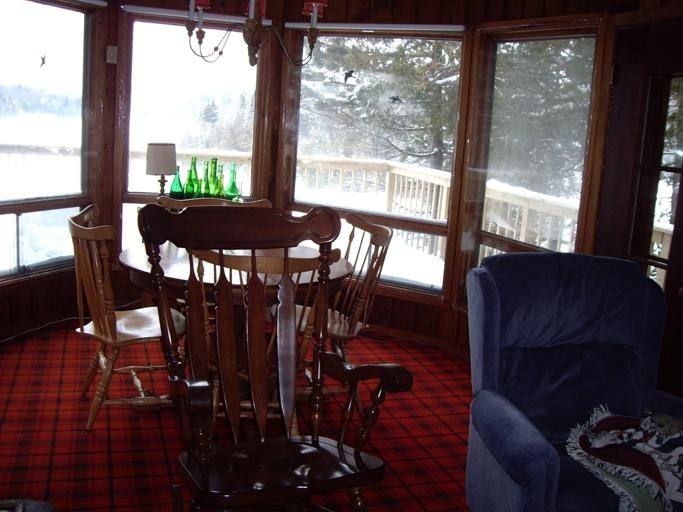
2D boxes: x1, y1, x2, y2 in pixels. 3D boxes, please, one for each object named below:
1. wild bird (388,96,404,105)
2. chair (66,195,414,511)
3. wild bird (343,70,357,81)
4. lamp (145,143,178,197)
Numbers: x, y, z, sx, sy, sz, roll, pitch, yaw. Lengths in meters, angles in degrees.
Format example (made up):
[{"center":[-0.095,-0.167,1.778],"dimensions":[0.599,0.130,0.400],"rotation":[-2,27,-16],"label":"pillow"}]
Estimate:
[{"center":[0.425,-1.200,4.183],"dimensions":[0.079,0.033,0.064],"rotation":[22,43,0],"label":"wild bird"},{"center":[-0.589,0.216,2.440],"dimensions":[0.868,1.200,1.778],"rotation":[-1,7,-28],"label":"chair"},{"center":[0.075,-1.428,4.311],"dimensions":[0.038,0.094,0.067],"rotation":[38,12,33],"label":"wild bird"},{"center":[-1.224,-0.587,3.725],"dimensions":[0.194,0.372,0.380],"rotation":[-2,14,-17],"label":"lamp"}]
